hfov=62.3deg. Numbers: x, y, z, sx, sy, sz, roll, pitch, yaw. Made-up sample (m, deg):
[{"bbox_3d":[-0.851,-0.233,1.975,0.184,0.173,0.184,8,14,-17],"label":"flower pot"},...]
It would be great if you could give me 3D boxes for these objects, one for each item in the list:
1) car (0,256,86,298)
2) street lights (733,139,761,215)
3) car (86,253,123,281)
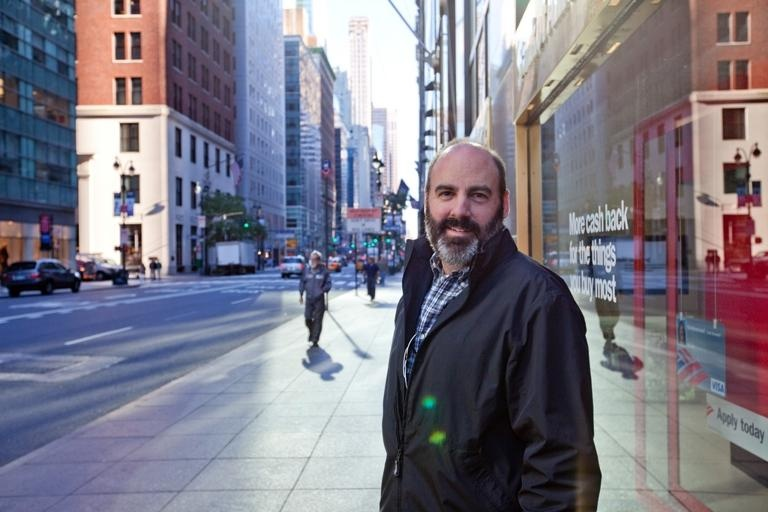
[{"bbox_3d":[-16.165,0.933,30.072,1.148,1.642,3.401,-1,0,15],"label":"car"},{"bbox_3d":[2.441,-0.526,4.261,0.034,0.485,0.200,-1,0,-16],"label":"street lights"},{"bbox_3d":[-19.489,0.737,43.946,2.679,1.778,1.731,-1,0,11],"label":"car"}]
